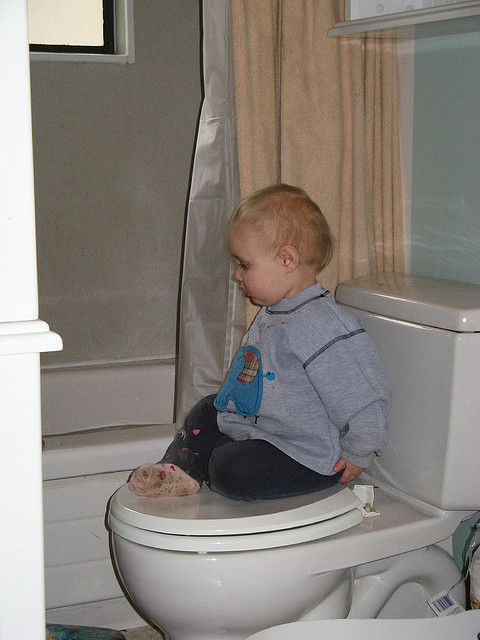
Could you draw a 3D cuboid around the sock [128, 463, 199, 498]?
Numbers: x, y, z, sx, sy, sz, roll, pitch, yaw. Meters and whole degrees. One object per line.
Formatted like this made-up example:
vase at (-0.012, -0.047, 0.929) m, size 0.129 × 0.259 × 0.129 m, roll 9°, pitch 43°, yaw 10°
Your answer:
sock at (-0.119, 0.253, 0.939) m, size 0.088 × 0.038 × 0.050 m, roll 8°, pitch -11°, yaw -25°
